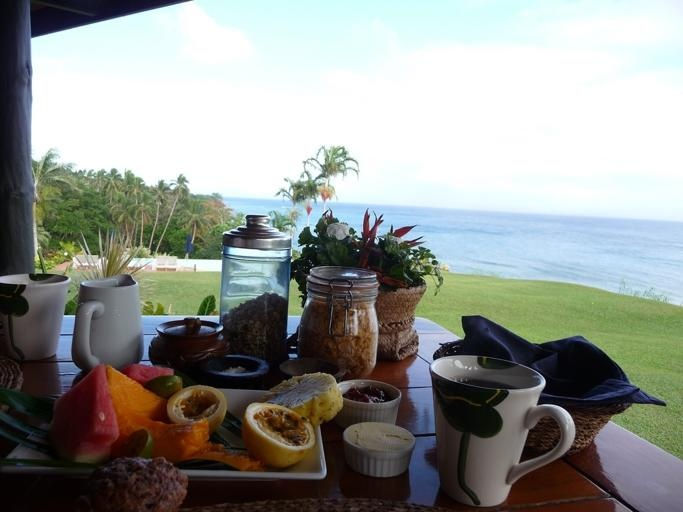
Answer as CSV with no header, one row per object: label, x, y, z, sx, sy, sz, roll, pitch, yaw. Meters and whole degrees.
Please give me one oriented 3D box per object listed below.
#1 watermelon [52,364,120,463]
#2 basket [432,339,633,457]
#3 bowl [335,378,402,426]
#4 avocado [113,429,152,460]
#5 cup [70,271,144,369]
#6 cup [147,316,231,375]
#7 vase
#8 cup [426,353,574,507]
watermelon,-0.340,0.208,0.607,0.067,0.099,0.079,0,8,-37
basket,0.321,0.228,0.779,0.220,0.162,0.238,-1,6,-15
bowl,0.051,0.229,0.745,0.082,0.036,0.084,1,7,0
avocado,-0.269,0.246,0.596,0.030,0.042,0.064,-2,9,-45
cup,-0.475,0.147,0.906,0.140,0.179,0.198,8,9,-5
cup,-0.295,0.159,0.888,0.113,0.090,0.114,1,3,0
vase,0.133,0.160,1.127,0.133,0.166,0.135,5,5,8
cup,0.207,0.235,0.636,0.180,0.167,0.130,6,7,13
